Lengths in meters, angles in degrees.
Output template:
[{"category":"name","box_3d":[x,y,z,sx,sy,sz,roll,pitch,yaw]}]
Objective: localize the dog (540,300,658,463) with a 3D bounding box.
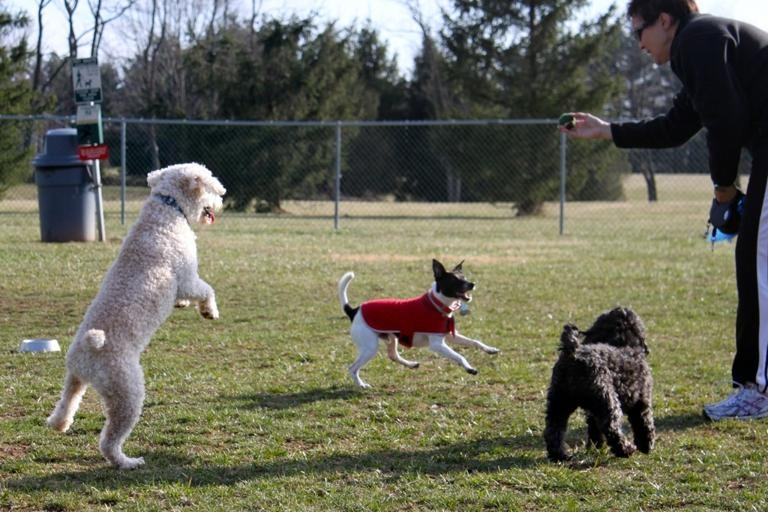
[{"category":"dog","box_3d":[3.168,1.865,19.299,1.273,2.313,2.252,-4,-7,41]}]

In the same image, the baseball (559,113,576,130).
[{"category":"baseball","box_3d":[2.732,-2.025,19.813,0.213,0.162,0.195,1,5,7]}]
